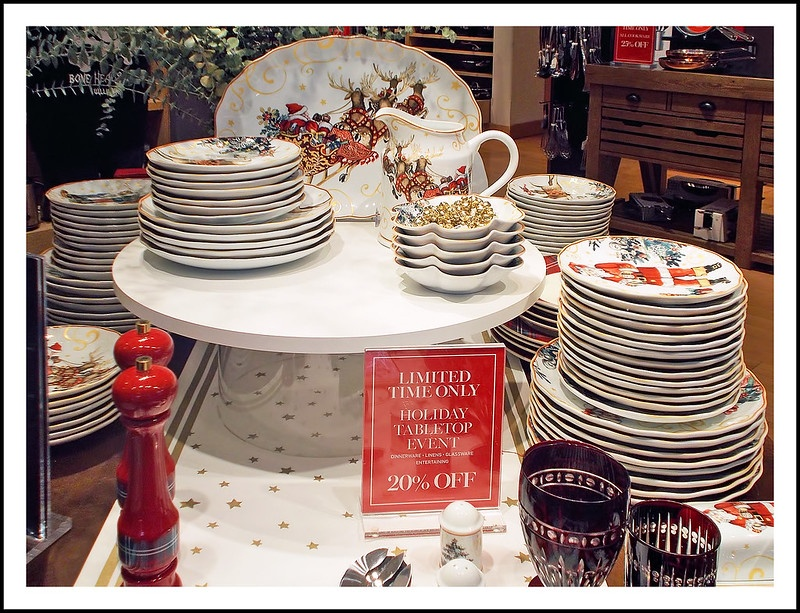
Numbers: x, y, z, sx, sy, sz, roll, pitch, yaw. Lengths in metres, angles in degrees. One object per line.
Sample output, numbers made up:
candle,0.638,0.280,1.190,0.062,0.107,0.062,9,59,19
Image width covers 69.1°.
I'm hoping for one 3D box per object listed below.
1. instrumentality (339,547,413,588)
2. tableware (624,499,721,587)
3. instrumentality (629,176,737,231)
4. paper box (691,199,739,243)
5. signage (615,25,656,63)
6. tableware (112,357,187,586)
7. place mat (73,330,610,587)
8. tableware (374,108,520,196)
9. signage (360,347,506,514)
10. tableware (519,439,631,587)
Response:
instrumentality,-0.034,0.399,0.887,0.102,0.041,0.103,0,14,4
tableware,0.383,0.353,0.823,0.118,0.100,0.131,6,16,28
instrumentality,1.524,-0.583,3.140,0.332,0.127,0.443,22,37,40
paper box,1.631,-0.448,2.970,0.286,0.146,0.151,-25,31,-35
signage,1.200,-1.364,2.965,0.193,0.238,0.022,19,65,29
tableware,-0.358,0.246,0.822,0.102,0.358,0.071,-9,15,-29
place mat,-0.102,0.237,1.302,0.665,0.002,0.740,-25,-4,20
tableware,0.132,-0.306,1.263,0.248,0.244,0.142,-7,16,2
signage,0.050,0.202,0.969,0.256,0.322,0.026,-1,9,-8
tableware,0.247,0.325,0.840,0.148,0.206,0.163,4,15,20
